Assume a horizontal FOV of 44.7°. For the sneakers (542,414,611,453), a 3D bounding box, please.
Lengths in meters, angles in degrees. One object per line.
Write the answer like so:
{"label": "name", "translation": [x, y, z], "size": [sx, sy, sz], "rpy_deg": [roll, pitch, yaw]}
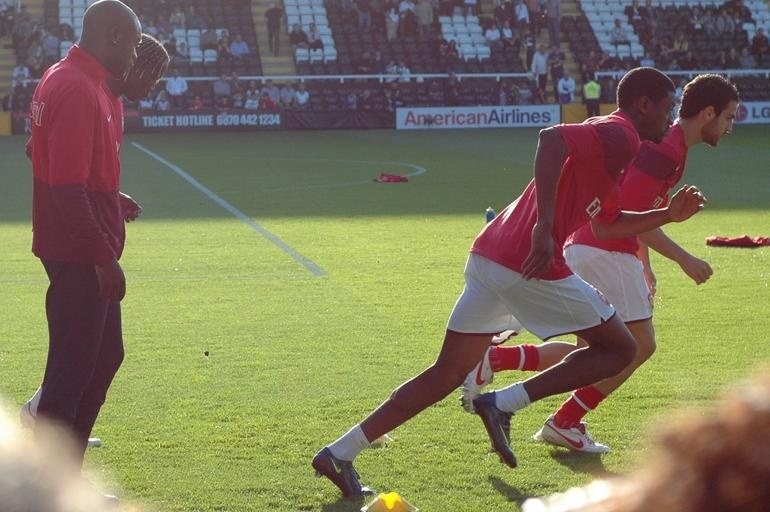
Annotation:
{"label": "sneakers", "translation": [1.178, 1.173, 6.119], "size": [0.505, 0.219, 0.179], "rpy_deg": [14, 4, 3]}

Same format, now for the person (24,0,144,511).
{"label": "person", "translation": [-1.646, -0.201, 5.172], "size": [0.625, 2.386, 0.630], "rpy_deg": [-3, 12, -15]}
